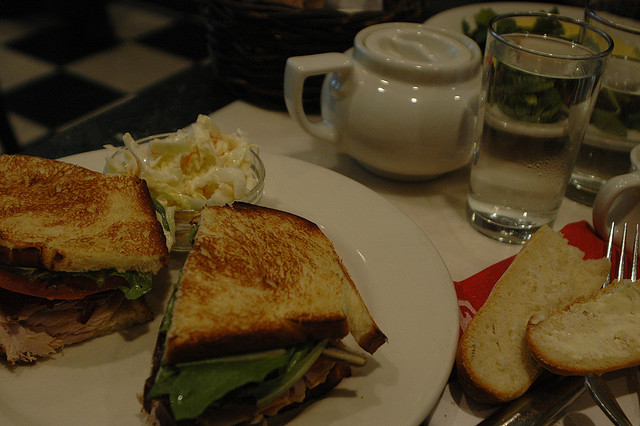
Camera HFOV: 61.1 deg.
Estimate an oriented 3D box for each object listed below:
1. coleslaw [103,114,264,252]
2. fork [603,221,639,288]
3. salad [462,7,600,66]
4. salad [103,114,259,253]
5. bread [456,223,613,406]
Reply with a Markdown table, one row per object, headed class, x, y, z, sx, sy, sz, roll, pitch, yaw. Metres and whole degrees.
| class | x | y | z | sx | sy | sz | roll | pitch | yaw |
| --- | --- | --- | --- | --- | --- | --- | --- | --- | --- |
| coleslaw | -0.391 | -0.131 | 1.687 | 0.387 | 0.247 | 0.438 | -6 | 37 | -2 |
| fork | 0.902 | 0.132 | 1.598 | 0.079 | 0.023 | 0.302 | 6 | 44 | 18 |
| salad | 0.679 | -0.564 | 1.752 | 0.349 | 0.061 | 0.351 | -20 | 41 | -25 |
| salad | -0.416 | -0.210 | 1.663 | 0.406 | 0.248 | 0.430 | -16 | 42 | -17 |
| bread | 0.599 | 0.245 | 1.519 | 0.269 | 0.128 | 0.599 | 30 | 67 | 37 |
